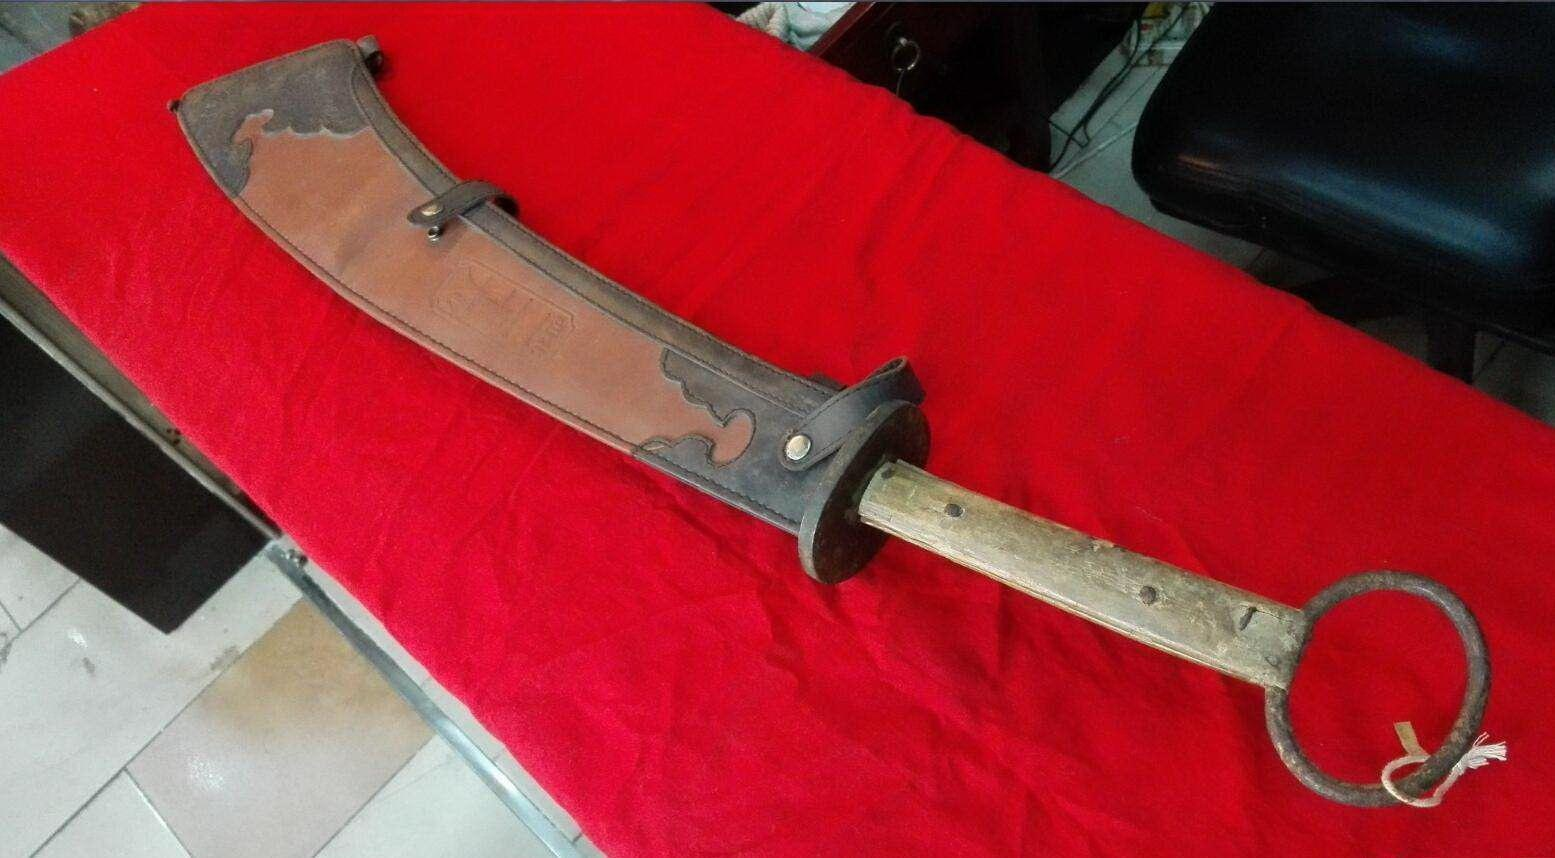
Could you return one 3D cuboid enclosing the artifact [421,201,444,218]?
[{"bbox_3d":[-0.796,-0.501,2.808,0.033,0.045,0.012,48,-4,19],"label":"artifact"}]

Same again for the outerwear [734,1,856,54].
[{"bbox_3d":[0.051,-0.994,3.049,0.146,0.148,0.046,39,-18,29],"label":"outerwear"}]
